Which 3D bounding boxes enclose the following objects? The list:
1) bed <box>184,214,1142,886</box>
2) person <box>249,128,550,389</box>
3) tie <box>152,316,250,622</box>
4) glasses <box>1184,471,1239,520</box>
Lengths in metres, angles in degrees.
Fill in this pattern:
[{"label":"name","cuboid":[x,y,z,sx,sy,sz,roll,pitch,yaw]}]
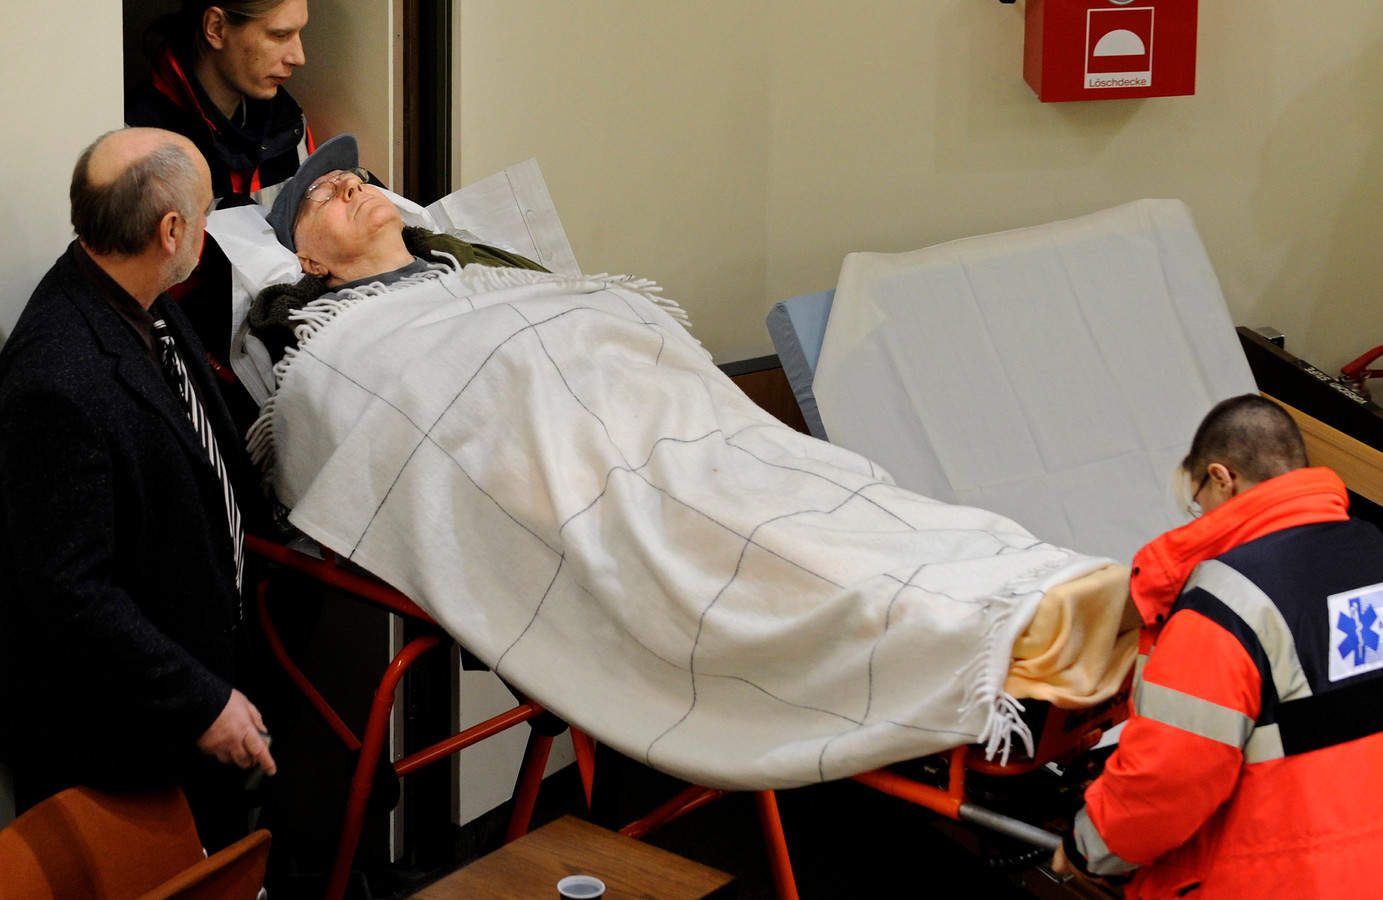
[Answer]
[{"label":"bed","cuboid":[-0.075,0.163,2.398,1.496,0.457,1.030,28,37,22]},{"label":"person","cuboid":[-0.758,-0.530,2.939,0.839,0.464,0.627,10,29,32]},{"label":"tie","cuboid":[-0.996,0.049,2.384,0.068,0.716,0.074,-18,-3,34]},{"label":"glasses","cuboid":[1.023,0.087,2.318,0.068,0.046,0.089,-21,10,-19]}]
